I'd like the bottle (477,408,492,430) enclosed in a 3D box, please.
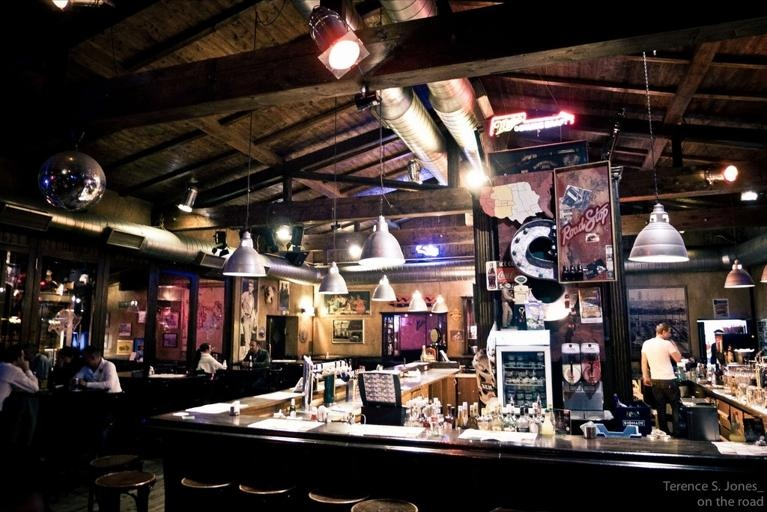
[{"bbox_3d":[1.338,2.128,7.981,0.209,0.260,0.407,-3,-13,7],"label":"bottle"}]

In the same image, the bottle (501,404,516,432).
[{"bbox_3d":[1.675,2.124,8.079,0.173,0.328,0.579,-4,-13,10],"label":"bottle"}]

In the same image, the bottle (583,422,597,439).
[{"bbox_3d":[2.489,2.072,7.260,0.214,0.197,0.140,-3,-7,26],"label":"bottle"}]

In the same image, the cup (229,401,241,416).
[{"bbox_3d":[-2.073,2.111,8.414,0.166,0.221,0.130,-1,-6,12],"label":"cup"}]

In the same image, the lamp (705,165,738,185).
[{"bbox_3d":[6.010,-1.409,10.823,0.295,0.310,0.490,-34,4,-14],"label":"lamp"}]

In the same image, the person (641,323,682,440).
[{"bbox_3d":[5.233,2.241,11.316,0.692,1.980,1.056,-7,-14,21],"label":"person"}]

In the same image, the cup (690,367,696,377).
[{"bbox_3d":[6.630,2.471,12.935,0.162,0.161,0.165,5,-10,1],"label":"cup"}]

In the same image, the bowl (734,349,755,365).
[{"bbox_3d":[7.666,2.118,12.842,0.464,0.319,0.432,1,-6,0],"label":"bowl"}]

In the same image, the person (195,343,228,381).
[{"bbox_3d":[-3.870,2.359,13.455,0.544,0.821,0.525,0,2,-32],"label":"person"}]

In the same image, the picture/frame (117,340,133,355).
[{"bbox_3d":[-6.768,2.363,15.828,0.434,0.398,0.043,-1,-9,6],"label":"picture/frame"}]

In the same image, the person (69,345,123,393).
[{"bbox_3d":[-4.809,1.884,10.170,0.707,0.779,0.749,5,-15,-25],"label":"person"}]

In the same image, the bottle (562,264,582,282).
[{"bbox_3d":[2.711,0.235,8.704,0.253,0.225,0.242,1,-7,-6],"label":"bottle"}]
